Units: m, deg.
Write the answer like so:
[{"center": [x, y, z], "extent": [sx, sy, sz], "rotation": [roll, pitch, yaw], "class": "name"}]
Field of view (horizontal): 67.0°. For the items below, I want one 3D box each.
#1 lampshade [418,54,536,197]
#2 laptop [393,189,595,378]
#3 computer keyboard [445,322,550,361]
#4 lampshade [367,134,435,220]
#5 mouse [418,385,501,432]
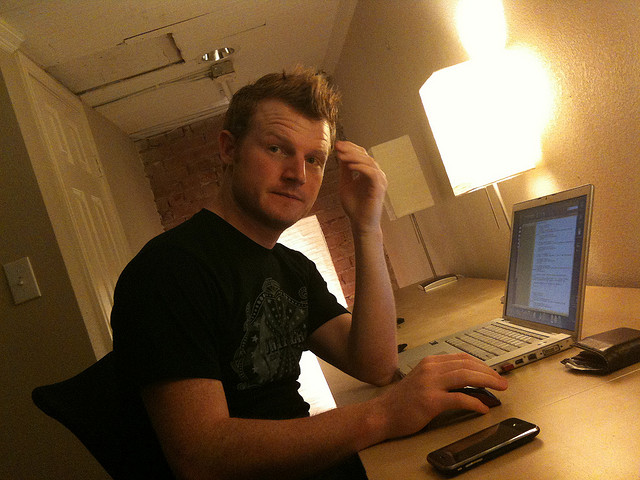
[{"center": [0.451, -0.337, 1.558], "extent": [0.278, 0.400, 0.332], "rotation": [1, 8, -1], "class": "lampshade"}, {"center": [0.400, 0.106, 1.218], "extent": [0.471, 0.365, 0.429], "rotation": [-10, -2, -12], "class": "laptop"}, {"center": [0.424, 0.259, 1.222], "extent": [0.237, 0.019, 0.357], "rotation": [-16, -3, -6], "class": "computer keyboard"}, {"center": [0.310, -0.280, 2.304], "extent": [0.305, 0.465, 0.295], "rotation": [-17, 4, -3], "class": "lampshade"}, {"center": [0.276, 0.320, 0.970], "extent": [0.142, 0.035, 0.082], "rotation": [-29, 11, -20], "class": "mouse"}]
